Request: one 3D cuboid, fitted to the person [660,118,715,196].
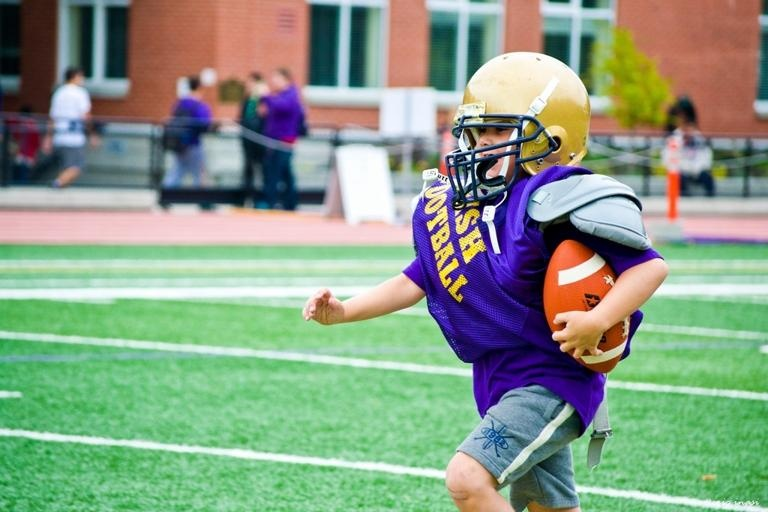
[{"bbox_3d":[5.109,-1.587,18.095,0.625,1.106,0.690,-2,-12,40],"label":"person"}]
